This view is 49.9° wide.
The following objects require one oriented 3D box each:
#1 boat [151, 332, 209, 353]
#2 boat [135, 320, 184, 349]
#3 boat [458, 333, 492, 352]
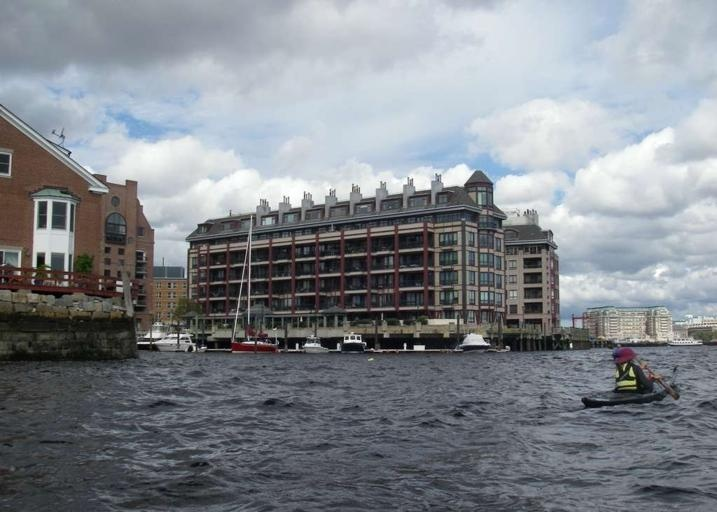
[{"bbox_3d":[-23.417,11.312,98.956,5.257,2.540,12.403,2,-2,-11],"label":"boat"},{"bbox_3d":[-27.291,9.866,101.369,4.957,4.087,11.400,-1,-8,5],"label":"boat"},{"bbox_3d":[13.860,10.584,92.664,3.153,2.101,3.610,1,-2,18],"label":"boat"}]
